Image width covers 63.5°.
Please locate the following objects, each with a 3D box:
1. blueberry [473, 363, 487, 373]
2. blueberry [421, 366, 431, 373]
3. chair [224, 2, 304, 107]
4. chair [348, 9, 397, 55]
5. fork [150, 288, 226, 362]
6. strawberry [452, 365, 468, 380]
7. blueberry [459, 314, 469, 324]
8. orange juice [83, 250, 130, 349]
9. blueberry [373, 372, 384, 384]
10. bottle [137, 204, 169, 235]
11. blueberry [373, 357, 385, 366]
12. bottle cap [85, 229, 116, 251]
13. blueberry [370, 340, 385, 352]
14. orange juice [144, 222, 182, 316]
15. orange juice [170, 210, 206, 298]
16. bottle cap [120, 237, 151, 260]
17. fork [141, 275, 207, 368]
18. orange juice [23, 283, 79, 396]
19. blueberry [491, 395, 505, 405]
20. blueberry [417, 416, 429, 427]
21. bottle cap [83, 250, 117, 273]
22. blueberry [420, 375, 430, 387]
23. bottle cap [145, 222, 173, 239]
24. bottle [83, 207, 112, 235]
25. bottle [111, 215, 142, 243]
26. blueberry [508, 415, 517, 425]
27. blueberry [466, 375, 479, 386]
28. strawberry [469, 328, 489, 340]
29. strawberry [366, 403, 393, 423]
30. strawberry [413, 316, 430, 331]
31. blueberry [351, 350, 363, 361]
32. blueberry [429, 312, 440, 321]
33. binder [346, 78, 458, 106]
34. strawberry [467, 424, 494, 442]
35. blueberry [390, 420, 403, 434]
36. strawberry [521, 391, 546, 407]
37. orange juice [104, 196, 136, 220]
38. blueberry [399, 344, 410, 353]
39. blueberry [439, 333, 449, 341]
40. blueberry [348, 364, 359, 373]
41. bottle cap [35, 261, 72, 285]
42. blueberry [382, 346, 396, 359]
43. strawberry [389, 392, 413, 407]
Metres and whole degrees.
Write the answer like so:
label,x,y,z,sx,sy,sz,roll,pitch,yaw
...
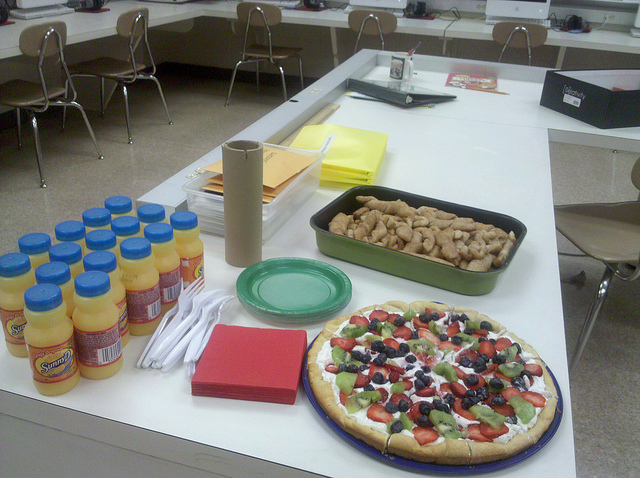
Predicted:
label,x,y,z,sx,sy,sz,roll,pitch,yaw
blueberry,0.281,0.229,0.914,0.014,0.007,0.019,-31,3,-19
blueberry,0.186,0.229,0.915,0.014,0.006,0.017,-6,33,-13
chair,-0.527,-1.714,4.613,0.665,0.855,1.217,-2,32,-6
chair,0.403,-1.684,4.086,0.390,0.254,0.202,9,32,11
fork,-0.260,0.144,1.057,0.034,0.032,0.243,18,43,13
strawberry,0.240,0.232,0.908,0.020,0.011,0.021,17,20,23
blueberry,0.284,0.157,1.027,0.021,0.008,0.015,-23,40,-35
orange juice,-0.370,0.098,0.920,0.062,0.177,0.064,-8,27,-18
blueberry,0.100,0.240,0.892,0.018,0.014,0.015,11,32,14
bottle,-0.326,-0.045,1.022,0.055,0.054,0.056,1,32,-7
blueberry,0.102,0.216,0.910,0.014,0.014,0.005,-12,31,17
bottle cap,-0.398,-0.001,0.941,0.046,0.023,0.046,19,36,26
blueberry,0.104,0.195,0.939,0.017,0.010,0.018,-5,38,17
orange juice,-0.298,0.054,0.988,0.058,0.177,0.056,-7,31,-19
orange juice,-0.260,0.027,1.049,0.062,0.165,0.055,14,28,16
bottle cap,-0.334,0.015,0.936,0.050,0.024,0.041,-2,32,-6
fork,-0.280,0.153,0.995,0.036,0.029,0.224,27,59,3
orange juice,-0.452,0.167,0.865,0.073,0.188,0.074,3,25,-6
blueberry,0.297,0.270,0.866,0.023,0.013,0.011,4,31,3
blueberry,0.166,0.295,0.836,0.019,0.013,0.013,-1,31,-5
bottle cap,-0.381,0.038,0.891,0.051,0.022,0.050,-22,39,-33
blueberry,0.182,0.243,0.885,0.012,0.006,0.017,-3,28,-2
bottle cap,-0.306,-0.017,0.976,0.049,0.015,0.038,-13,35,-23
bottle,-0.430,-0.037,1.018,0.052,0.052,0.053,2,28,-8
bottle,-0.365,-0.025,0.976,0.044,0.044,0.045,0,35,-10
blueberry,0.315,0.296,0.846,0.012,0.007,0.015,9,32,11
blueberry,0.261,0.242,0.886,0.022,0.015,0.011,4,31,3
strawberry,0.307,0.183,0.999,0.021,0.008,0.017,-10,23,-23
strawberry,0.096,0.288,0.848,0.040,0.009,0.030,25,38,32
strawberry,0.197,0.164,1.017,0.030,0.012,0.027,6,32,5
blueberry,0.065,0.209,0.930,0.021,0.011,0.010,20,35,26
blueberry,0.224,0.153,1.021,0.014,0.005,0.015,-7,33,-3
binder,0.335,-0.634,2.233,0.485,0.063,0.237,10,33,11
strawberry,0.255,0.312,0.831,0.038,0.009,0.028,2,32,0
blueberry,0.122,0.302,0.828,0.019,0.013,0.006,-41,3,-7
strawberry,0.365,0.273,0.882,0.029,0.007,0.022,9,36,28
orange juice,-0.404,-0.069,1.053,0.049,0.051,0.050,-2,31,-9
blueberry,0.153,0.200,0.946,0.018,0.011,0.015,13,33,17
blueberry,0.238,0.186,0.985,0.010,0.005,0.013,4,34,3
blueberry,0.056,0.226,0.906,0.017,0.010,0.011,9,32,11
bottle cap,-0.452,0.057,0.872,0.051,0.023,0.056,-21,39,-33
blueberry,0.124,0.203,0.928,0.015,0.008,0.022,4,27,-6
strawberry,0.134,0.270,0.868,0.025,0.010,0.021,-8,6,3
